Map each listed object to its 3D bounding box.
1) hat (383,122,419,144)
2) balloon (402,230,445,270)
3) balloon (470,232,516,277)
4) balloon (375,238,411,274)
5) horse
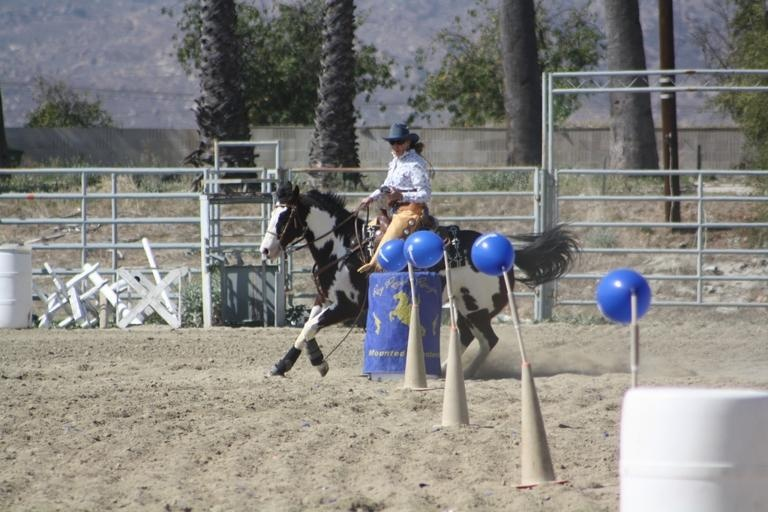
[{"bbox_3d":[0.522,-3.549,47.953,0.964,0.610,0.619,-3,3,8],"label":"hat"},{"bbox_3d":[1.110,-0.193,46.968,1.167,1.047,1.005,24,-13,-36],"label":"balloon"},{"bbox_3d":[3.078,-0.066,45.718,1.042,1.316,1.110,3,40,22],"label":"balloon"},{"bbox_3d":[0.316,-0.020,47.589,0.791,1.022,0.833,1,-1,29],"label":"balloon"},{"bbox_3d":[1.019,0.899,48.834,9.380,5.719,1.910,0,8,10],"label":"horse"}]
